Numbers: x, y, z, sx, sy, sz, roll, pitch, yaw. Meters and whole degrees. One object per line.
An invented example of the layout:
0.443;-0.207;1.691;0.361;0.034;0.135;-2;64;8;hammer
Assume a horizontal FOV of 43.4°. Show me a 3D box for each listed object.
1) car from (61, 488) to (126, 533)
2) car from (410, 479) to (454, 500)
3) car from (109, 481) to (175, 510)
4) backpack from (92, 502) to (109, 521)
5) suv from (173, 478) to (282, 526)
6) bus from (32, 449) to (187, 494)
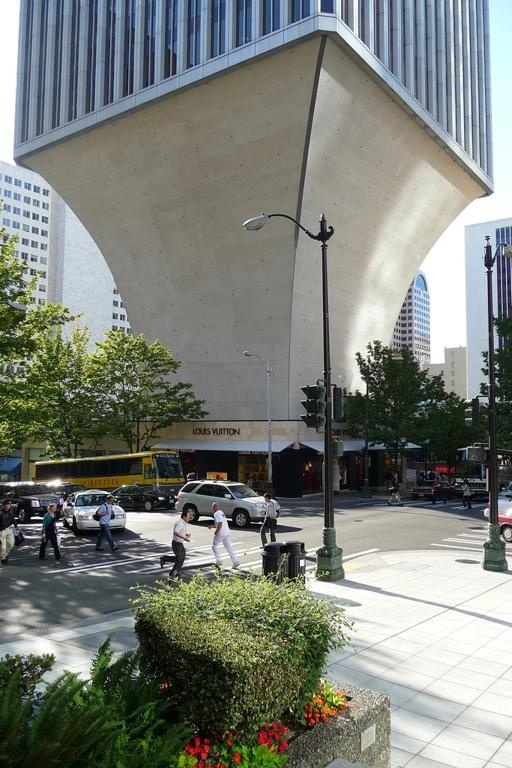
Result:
-6.308;4.757;24.132;1.340;1.045;3.021;2;-10;-22;car
11.325;6.774;40.397;2.354;0.900;1.326;-1;0;-43;car
-6.008;6.077;33.690;3.452;1.191;1.619;2;-2;32;car
-4.671;3.957;19.732;0.336;0.475;0.694;2;-4;-18;backpack
-1.311;5.107;26.128;4.393;2.040;2.240;-5;-7;31;suv
-10.111;5.279;40.931;13.105;3.616;3.555;-6;-6;39;bus
